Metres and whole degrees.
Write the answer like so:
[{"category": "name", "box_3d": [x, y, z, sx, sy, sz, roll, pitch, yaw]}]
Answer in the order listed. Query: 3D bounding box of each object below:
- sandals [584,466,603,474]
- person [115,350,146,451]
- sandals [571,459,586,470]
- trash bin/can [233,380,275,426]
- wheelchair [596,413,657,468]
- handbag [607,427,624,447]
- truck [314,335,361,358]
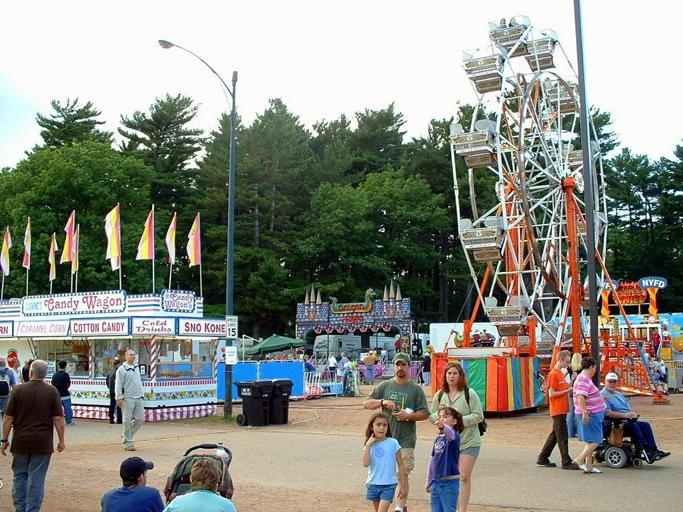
[{"category": "sandals", "box_3d": [5.296, 4.562, 19.663, 0.320, 0.136, 0.174, 0, -6, -6]}, {"category": "person", "box_3d": [-5.343, 3.652, 23.358, 0.567, 2.457, 0.784, -3, -8, 14]}, {"category": "sandals", "box_3d": [5.036, 4.498, 19.843, 0.183, 0.235, 0.525, 1, -9, -15]}, {"category": "trash bin/can", "box_3d": [-2.554, 4.428, 27.701, 1.075, 1.346, 0.629, -1, -8, -8]}, {"category": "wheelchair", "box_3d": [6.280, 4.155, 20.596, 1.259, 1.366, 0.801, -2, -6, 24]}, {"category": "handbag", "box_3d": [5.945, 3.944, 20.127, 0.283, 0.401, 0.136, 2, -12, 24]}, {"category": "truck", "box_3d": [-0.211, 5.903, 60.039, 1.288, 1.309, 4.070, -2, -6, 28]}]
